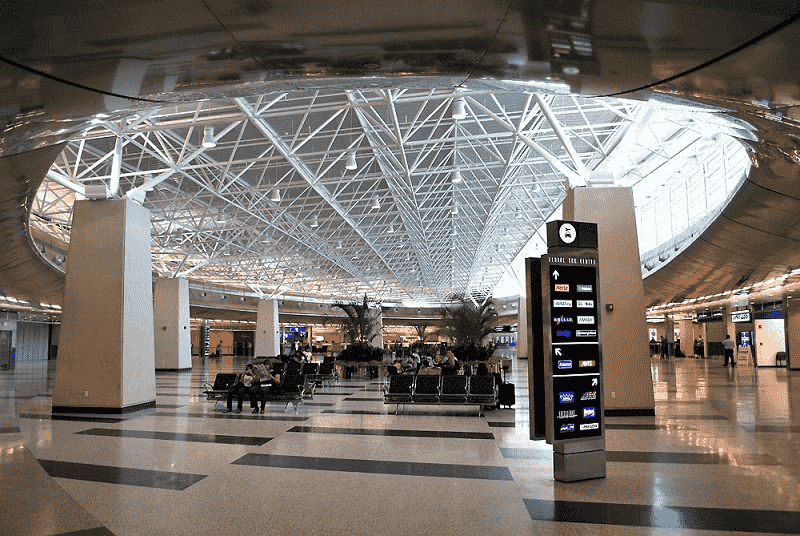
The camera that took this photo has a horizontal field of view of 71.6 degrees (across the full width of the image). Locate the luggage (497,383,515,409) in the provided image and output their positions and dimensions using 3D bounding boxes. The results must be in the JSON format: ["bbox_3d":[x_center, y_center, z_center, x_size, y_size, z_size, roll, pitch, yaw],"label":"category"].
[{"bbox_3d":[3.135,3.747,16.438,0.452,0.729,0.789,-2,-11,10],"label":"luggage"}]

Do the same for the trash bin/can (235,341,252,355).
[{"bbox_3d":[-23.115,11.767,81.918,1.721,2.159,2.287,-2,-1,12],"label":"trash bin/can"}]

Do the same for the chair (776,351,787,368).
[{"bbox_3d":[22.421,5.258,32.634,0.573,0.777,0.698,-2,-11,7],"label":"chair"}]
